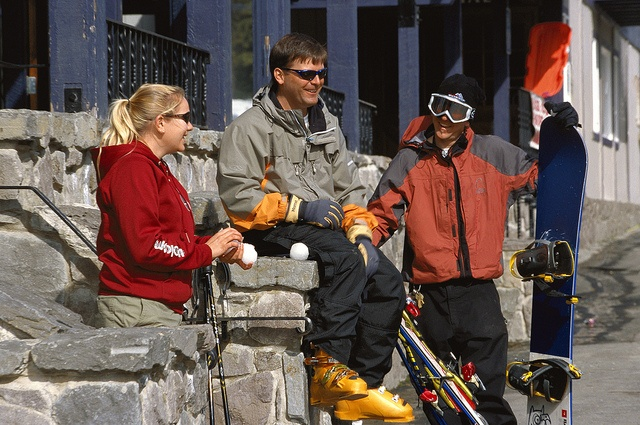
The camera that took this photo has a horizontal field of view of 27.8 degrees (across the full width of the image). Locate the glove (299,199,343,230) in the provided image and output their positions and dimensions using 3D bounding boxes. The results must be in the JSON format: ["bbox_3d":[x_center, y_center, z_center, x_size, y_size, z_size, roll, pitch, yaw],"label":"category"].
[{"bbox_3d":[-0.008,0.022,12.284,0.414,0.278,0.180,5,0,6],"label":"glove"}]

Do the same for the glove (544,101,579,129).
[{"bbox_3d":[2.389,-0.983,12.846,0.279,0.126,0.281,39,22,-2],"label":"glove"}]

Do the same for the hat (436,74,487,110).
[{"bbox_3d":[1.370,-1.158,12.916,0.352,0.405,0.478,10,-10,11],"label":"hat"}]

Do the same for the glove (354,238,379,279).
[{"bbox_3d":[0.372,0.473,12.376,0.314,0.143,0.444,2,-42,13],"label":"glove"}]
